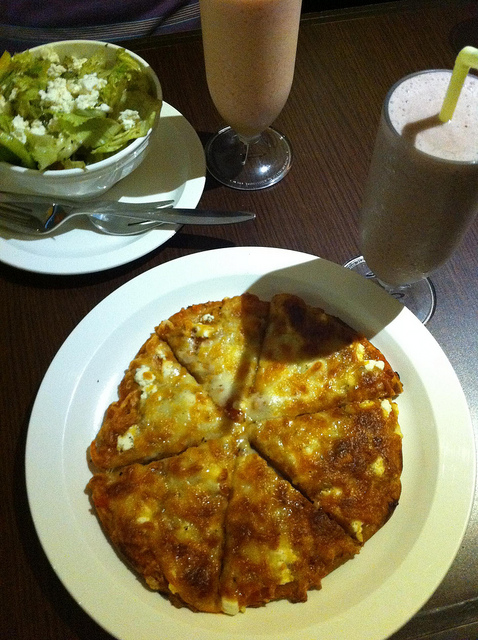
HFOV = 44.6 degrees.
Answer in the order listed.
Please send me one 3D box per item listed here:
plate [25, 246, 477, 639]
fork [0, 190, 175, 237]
[{"bbox_3d":[0.012,0.142,0.906,0.669,0.093,0.621,1,62,0],"label":"plate"},{"bbox_3d":[-0.309,-0.205,1.135,0.440,0.057,0.067,4,67,-2],"label":"fork"}]
